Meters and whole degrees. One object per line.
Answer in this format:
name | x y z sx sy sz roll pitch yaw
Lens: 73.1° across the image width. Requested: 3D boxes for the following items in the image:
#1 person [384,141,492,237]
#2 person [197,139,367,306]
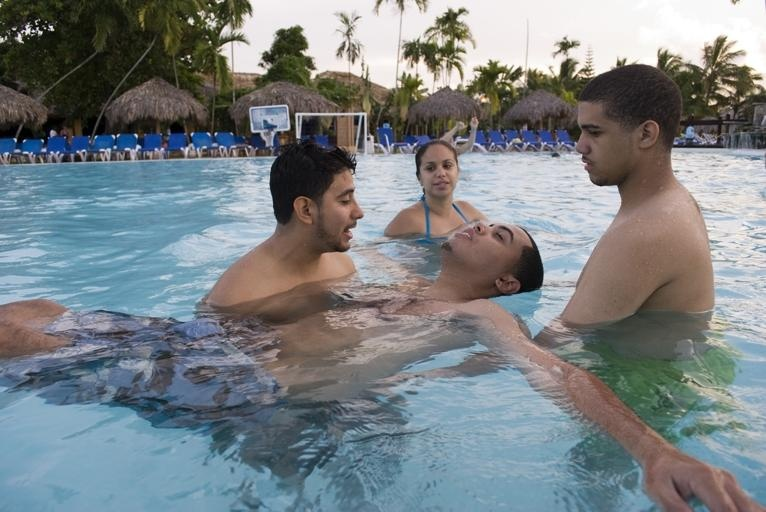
person | 0.614 -0.736 5.990 1.618 1.016 0.672 -9 7 -33
person | -0.533 -0.233 3.421 1.005 0.886 1.380 5 13 19
